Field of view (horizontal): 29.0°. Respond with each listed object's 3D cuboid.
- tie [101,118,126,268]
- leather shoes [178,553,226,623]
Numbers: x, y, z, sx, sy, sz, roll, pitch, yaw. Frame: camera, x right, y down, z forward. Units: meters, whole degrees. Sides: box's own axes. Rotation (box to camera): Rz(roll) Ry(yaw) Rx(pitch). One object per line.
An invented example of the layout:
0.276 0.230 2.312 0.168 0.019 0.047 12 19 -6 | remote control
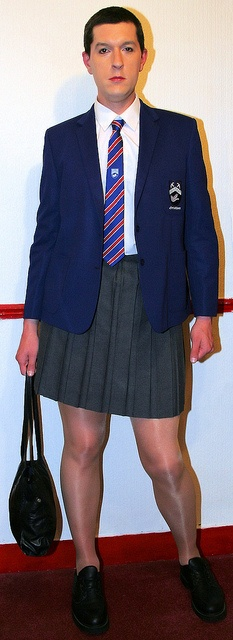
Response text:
-0.009 -0.330 1.167 0.056 0.319 0.149 -1 23 3 | tie
0.254 0.765 1.337 0.056 0.099 0.190 -7 17 -3 | leather shoes
